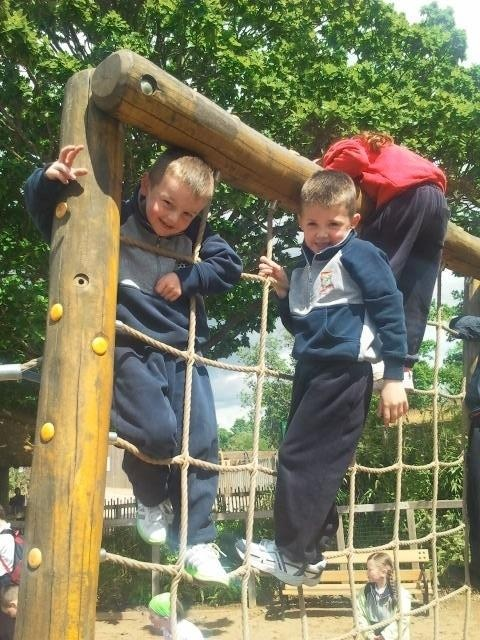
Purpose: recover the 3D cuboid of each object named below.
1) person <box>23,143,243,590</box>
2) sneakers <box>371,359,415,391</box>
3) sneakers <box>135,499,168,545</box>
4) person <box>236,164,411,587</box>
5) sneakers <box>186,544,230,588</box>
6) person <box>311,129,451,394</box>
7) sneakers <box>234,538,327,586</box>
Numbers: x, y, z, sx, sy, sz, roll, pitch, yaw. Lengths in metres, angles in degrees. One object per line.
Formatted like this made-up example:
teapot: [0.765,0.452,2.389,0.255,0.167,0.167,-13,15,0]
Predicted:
person: [-0.308,0.153,2.483,0.480,1.473,0.851,-2,-7,37]
sneakers: [0.652,0.247,3.120,0.197,0.196,0.140,-1,-10,0]
sneakers: [-0.333,0.748,2.708,0.098,0.084,0.170,14,1,-18]
person: [0.359,0.205,2.799,0.546,1.604,0.276,1,-6,13]
sneakers: [-0.112,0.840,2.476,0.152,0.148,0.213,2,-6,-4]
person: [0.607,-0.272,3.349,0.736,1.201,0.490,-2,-11,26]
sneakers: [0.180,0.918,2.723,0.321,0.172,0.110,4,-6,-17]
